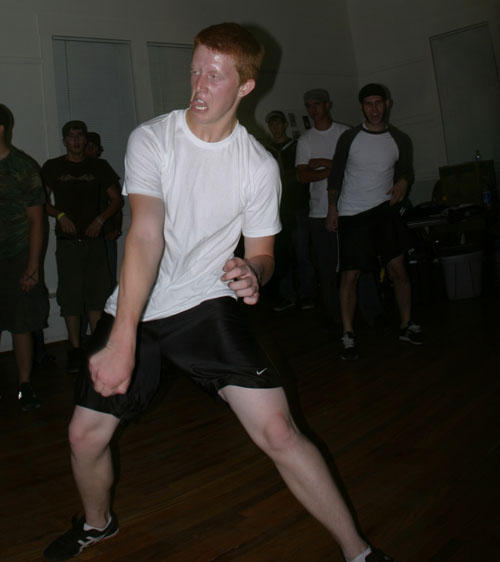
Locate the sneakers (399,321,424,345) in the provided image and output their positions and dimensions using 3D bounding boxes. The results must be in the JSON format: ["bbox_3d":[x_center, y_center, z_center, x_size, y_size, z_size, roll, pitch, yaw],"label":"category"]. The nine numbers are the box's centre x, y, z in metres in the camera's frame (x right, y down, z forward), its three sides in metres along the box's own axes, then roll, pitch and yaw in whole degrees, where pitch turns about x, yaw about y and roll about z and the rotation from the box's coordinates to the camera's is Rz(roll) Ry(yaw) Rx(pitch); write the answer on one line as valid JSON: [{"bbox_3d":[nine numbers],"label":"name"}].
[{"bbox_3d":[1.123,0.369,3.208,0.074,0.101,0.223,-2,2,-10],"label":"sneakers"}]

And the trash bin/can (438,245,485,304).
[{"bbox_3d":[1.852,-0.057,4.341,0.418,0.556,0.422,-5,-5,-4],"label":"trash bin/can"}]

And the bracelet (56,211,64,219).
[{"bbox_3d":[-1.451,-0.502,3.543,0.055,0.022,0.057,-44,20,4],"label":"bracelet"}]

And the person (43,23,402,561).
[{"bbox_3d":[-0.132,0.081,1.196,0.806,1.450,0.539,-6,6,-7],"label":"person"}]
